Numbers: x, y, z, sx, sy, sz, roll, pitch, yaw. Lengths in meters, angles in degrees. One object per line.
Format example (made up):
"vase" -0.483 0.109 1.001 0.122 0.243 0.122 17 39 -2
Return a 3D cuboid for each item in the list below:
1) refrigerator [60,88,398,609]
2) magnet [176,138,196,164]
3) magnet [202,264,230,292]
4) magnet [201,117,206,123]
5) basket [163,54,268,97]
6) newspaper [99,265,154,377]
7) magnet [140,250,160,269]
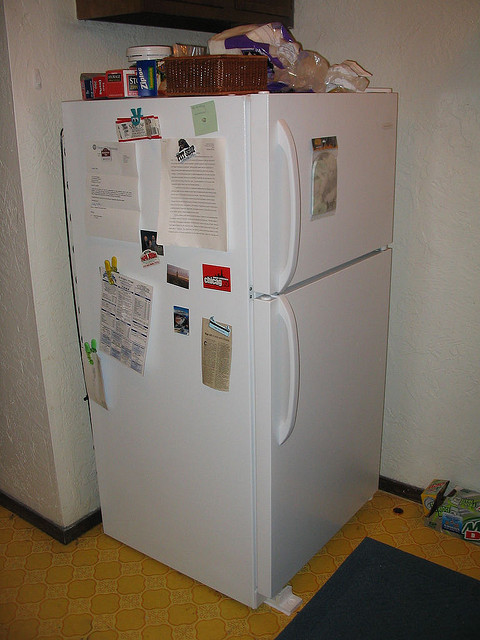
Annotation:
"refrigerator" 0.007 0.012 1.743 0.815 1.940 0.823 12 21 35
"magnet" -0.122 -0.382 1.137 0.010 0.049 0.066 -11 15 -41
"magnet" -0.054 -0.104 1.201 0.055 0.042 0.008 17 27 37
"magnet" -0.077 -0.430 1.084 0.009 0.010 0.002 -2 12 19
"basket" -0.046 -0.528 1.092 0.196 0.070 0.159 14 27 31
"newspaper" -0.324 -0.008 1.463 0.223 0.302 0.011 27 32 32
"magnet" -0.240 -0.162 1.337 0.012 0.048 0.076 -12 16 -43
